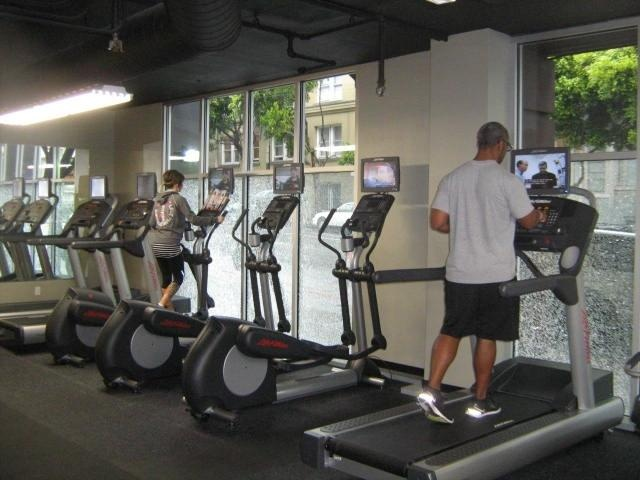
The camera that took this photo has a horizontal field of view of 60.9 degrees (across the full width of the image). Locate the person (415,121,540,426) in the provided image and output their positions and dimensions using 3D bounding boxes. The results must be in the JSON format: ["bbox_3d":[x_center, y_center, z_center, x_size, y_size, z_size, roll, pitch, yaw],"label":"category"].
[{"bbox_3d":[1.020,0.216,3.464,0.675,1.938,0.475,2,6,16],"label":"person"}]

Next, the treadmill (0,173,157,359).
[{"bbox_3d":[-2.698,0.321,6.933,1.759,2.411,2.224,2,0,38],"label":"treadmill"}]

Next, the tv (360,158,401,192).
[{"bbox_3d":[0.549,-0.588,4.894,0.319,0.280,0.119,1,1,34],"label":"tv"}]

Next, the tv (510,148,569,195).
[{"bbox_3d":[1.623,-0.494,3.959,0.392,0.328,0.047,3,2,35],"label":"tv"}]

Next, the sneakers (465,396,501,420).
[{"bbox_3d":[1.083,1.116,3.669,0.276,0.120,0.100,-3,8,-32],"label":"sneakers"}]

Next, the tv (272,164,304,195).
[{"bbox_3d":[-0.313,-0.611,5.442,0.333,0.304,0.141,0,-1,30],"label":"tv"}]
